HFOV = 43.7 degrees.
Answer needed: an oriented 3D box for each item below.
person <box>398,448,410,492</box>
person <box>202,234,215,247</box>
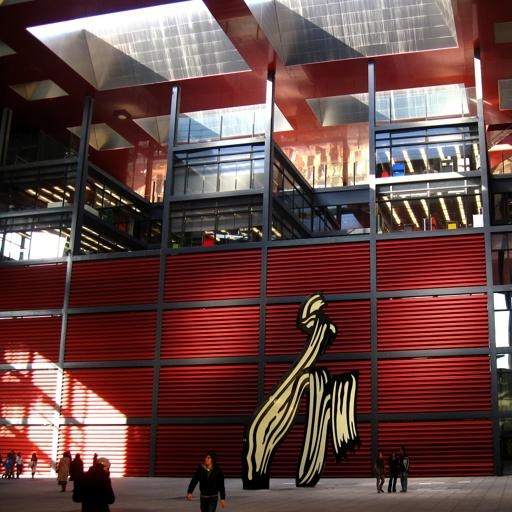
[{"bbox_3d":[3.898,5.662,16.695,0.231,0.906,1.319,-4,-15,12],"label":"person"},{"bbox_3d":[-2.055,-0.656,28.054,0.460,0.484,0.819,-2,2,-3],"label":"person"}]
